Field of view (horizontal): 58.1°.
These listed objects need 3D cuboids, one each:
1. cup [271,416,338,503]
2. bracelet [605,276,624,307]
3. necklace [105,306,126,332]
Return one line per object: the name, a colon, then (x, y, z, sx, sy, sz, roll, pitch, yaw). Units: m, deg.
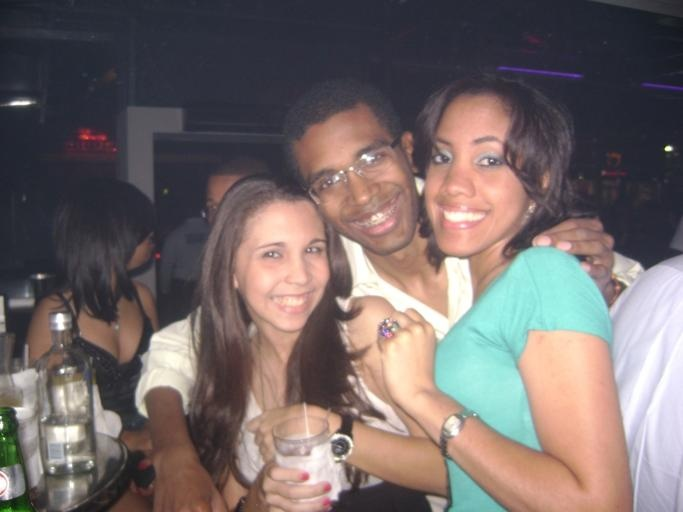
cup: (-0.234, 1.116, 3.427, 0.317, 0.442, 0.384, -2, 1, -32)
bracelet: (1.736, 0.233, 3.912, 0.125, 0.157, 0.110, 12, -28, -43)
necklace: (-1.872, 0.523, 5.123, 0.053, 0.189, 0.138, 8, 7, 26)
